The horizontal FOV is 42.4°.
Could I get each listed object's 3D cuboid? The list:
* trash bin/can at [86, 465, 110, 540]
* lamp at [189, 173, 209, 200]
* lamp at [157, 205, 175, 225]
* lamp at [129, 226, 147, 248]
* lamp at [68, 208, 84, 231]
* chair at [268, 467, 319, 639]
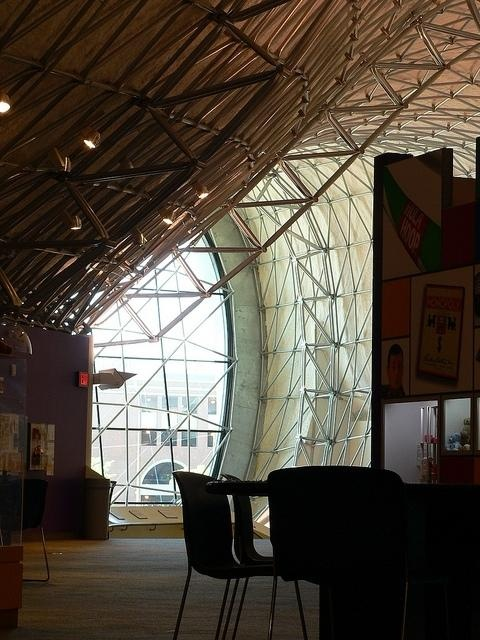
[{"bbox_3d":[-3.765,4.914,16.386,0.507,1.728,1.144,8,-10,-34],"label":"trash bin/can"},{"bbox_3d":[-0.838,-2.686,12.218,0.160,0.589,0.402,-5,-9,30],"label":"lamp"},{"bbox_3d":[-1.558,-2.241,13.029,0.200,0.223,0.395,-15,34,13],"label":"lamp"},{"bbox_3d":[-2.205,-1.865,13.291,0.224,0.307,1.000,-20,30,-1],"label":"lamp"},{"bbox_3d":[-3.050,-1.831,11.438,0.254,0.332,0.792,1,12,-6],"label":"lamp"},{"bbox_3d":[0.177,0.684,2.054,0.195,0.385,0.138,1,-8,14],"label":"chair"}]
